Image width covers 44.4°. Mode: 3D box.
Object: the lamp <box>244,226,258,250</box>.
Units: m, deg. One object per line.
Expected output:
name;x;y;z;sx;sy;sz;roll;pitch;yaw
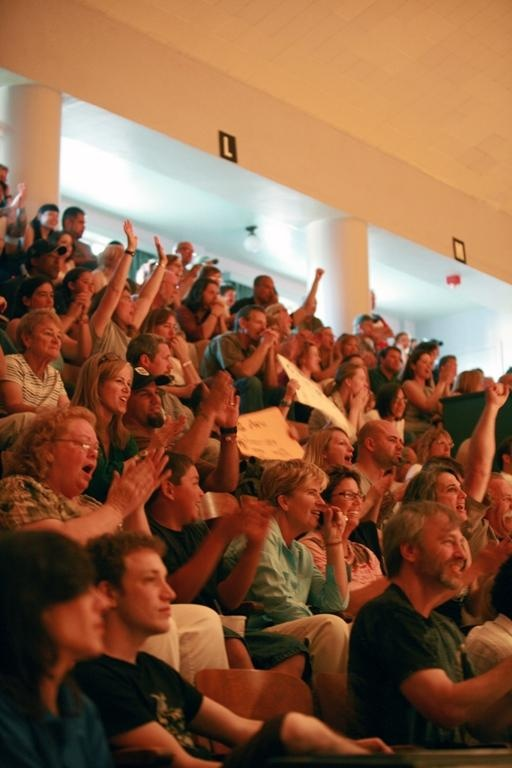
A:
lamp;-0.075;-2.684;11.569;0.352;0.450;0.337;-1;1;8

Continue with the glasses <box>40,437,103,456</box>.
glasses;-0.541;0.190;1.897;0.038;0.053;0.158;10;7;41

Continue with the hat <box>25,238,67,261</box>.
hat;-1.380;-0.885;4.144;0.225;0.116;0.140;-26;5;4
